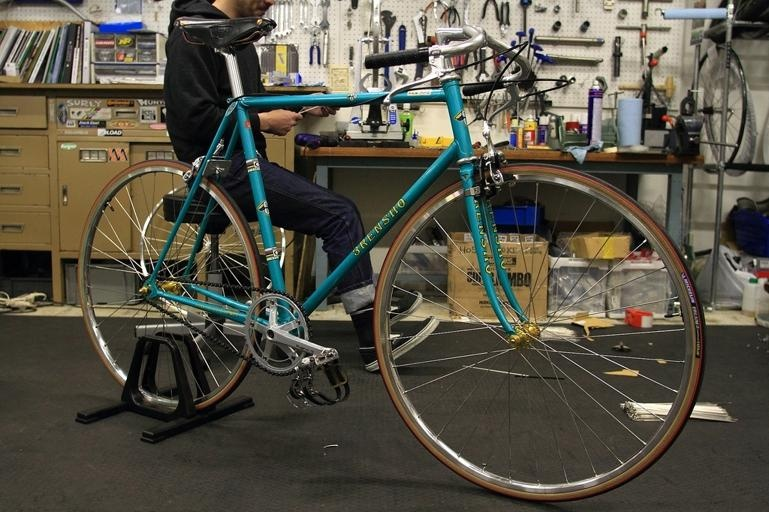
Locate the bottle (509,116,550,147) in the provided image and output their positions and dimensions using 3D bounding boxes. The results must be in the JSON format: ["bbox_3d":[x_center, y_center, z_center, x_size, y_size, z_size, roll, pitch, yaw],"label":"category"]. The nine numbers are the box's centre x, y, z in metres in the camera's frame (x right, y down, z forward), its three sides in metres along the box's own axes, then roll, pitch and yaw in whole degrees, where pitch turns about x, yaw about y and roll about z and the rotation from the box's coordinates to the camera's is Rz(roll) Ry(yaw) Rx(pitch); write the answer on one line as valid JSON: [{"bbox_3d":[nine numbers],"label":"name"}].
[{"bbox_3d":[1.059,-0.906,5.152,0.306,0.306,0.108,0,0,4],"label":"bottle"}]

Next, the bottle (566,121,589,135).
[{"bbox_3d":[1.372,-0.926,5.068,0.129,0.089,0.131,-1,7,0],"label":"bottle"}]

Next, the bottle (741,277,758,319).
[{"bbox_3d":[2.496,0.279,4.819,0.089,0.248,0.162,7,12,24],"label":"bottle"}]
